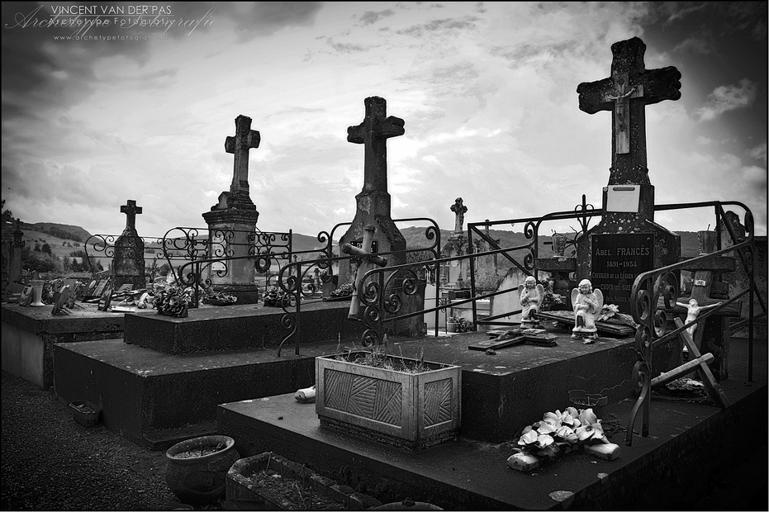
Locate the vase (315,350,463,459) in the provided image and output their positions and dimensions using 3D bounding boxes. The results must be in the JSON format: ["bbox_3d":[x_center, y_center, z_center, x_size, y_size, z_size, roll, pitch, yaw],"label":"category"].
[{"bbox_3d":[-0.004,1.365,5.450,1.354,0.750,0.525,-1,-3,20],"label":"vase"}]

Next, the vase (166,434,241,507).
[{"bbox_3d":[-1.809,2.136,5.824,0.617,0.454,0.674,-3,-16,3],"label":"vase"}]

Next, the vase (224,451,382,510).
[{"bbox_3d":[-0.813,2.035,5.050,1.316,0.437,0.394,-2,-3,31],"label":"vase"}]
